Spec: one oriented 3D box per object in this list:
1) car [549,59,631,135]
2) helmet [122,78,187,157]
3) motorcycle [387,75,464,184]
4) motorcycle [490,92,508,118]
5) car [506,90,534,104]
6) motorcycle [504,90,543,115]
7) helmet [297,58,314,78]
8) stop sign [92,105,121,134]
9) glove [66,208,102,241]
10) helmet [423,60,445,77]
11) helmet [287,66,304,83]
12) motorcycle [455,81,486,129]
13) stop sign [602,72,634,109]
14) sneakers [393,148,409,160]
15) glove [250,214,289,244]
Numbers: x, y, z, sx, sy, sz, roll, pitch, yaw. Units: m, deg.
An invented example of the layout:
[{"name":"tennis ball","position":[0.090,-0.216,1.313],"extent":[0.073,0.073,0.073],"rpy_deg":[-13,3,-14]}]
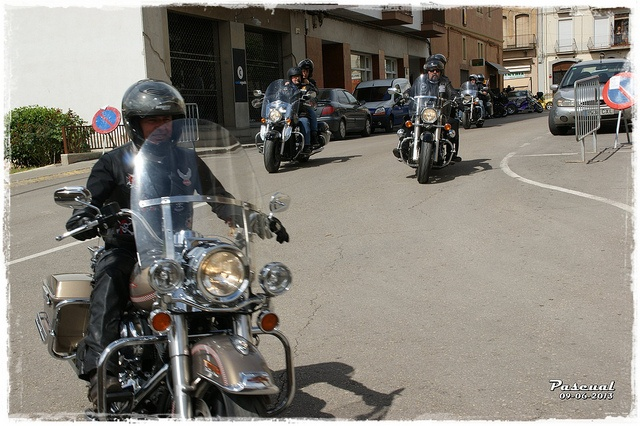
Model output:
[{"name":"car","position":[8.019,-3.665,16.639],"extent":[1.775,1.639,3.354],"rpy_deg":[-1,6,31]},{"name":"helmet","position":[-1.302,-0.748,4.222],"extent":[0.477,0.559,0.578],"rpy_deg":[-10,13,-36]},{"name":"motorcycle","position":[2.258,-1.822,11.412],"extent":[1.372,2.206,0.952],"rpy_deg":[-14,16,-39]},{"name":"motorcycle","position":[12.183,-7.405,36.808],"extent":[0.950,1.569,3.289],"rpy_deg":[1,14,17]},{"name":"car","position":[14.649,-8.617,39.931],"extent":[1.198,0.952,1.930],"rpy_deg":[0,13,24]},{"name":"motorcycle","position":[14.966,-8.147,39.804],"extent":[3.655,1.640,1.796],"rpy_deg":[-15,18,-41]},{"name":"helmet","position":[-0.385,-3.841,14.329],"extent":[0.476,0.589,0.584],"rpy_deg":[-2,14,-10]},{"name":"stop sign","position":[-6.407,-2.753,16.057],"extent":[0.827,0.848,0.206],"rpy_deg":[-2,-3,5]},{"name":"glove","position":[-1.719,0.100,3.900],"extent":[0.282,0.124,0.209],"rpy_deg":[8,24,-36]},{"name":"helmet","position":[2.444,-3.082,11.544],"extent":[0.316,0.407,0.322],"rpy_deg":[4,9,2]},{"name":"helmet","position":[-0.666,-3.549,13.940],"extent":[0.335,0.434,0.444],"rpy_deg":[-2,8,-6]},{"name":"motorcycle","position":[6.781,-5.082,24.316],"extent":[1.168,1.849,3.224],"rpy_deg":[2,28,28]},{"name":"stop sign","position":[6.866,-2.813,12.393],"extent":[0.626,0.784,0.419],"rpy_deg":[4,15,29]},{"name":"sneakers","position":[1.729,-1.260,11.573],"extent":[0.311,0.203,0.201],"rpy_deg":[9,11,33]},{"name":"glove","position":[-0.393,0.127,4.079],"extent":[0.129,0.152,0.361],"rpy_deg":[-13,-41,41]}]
